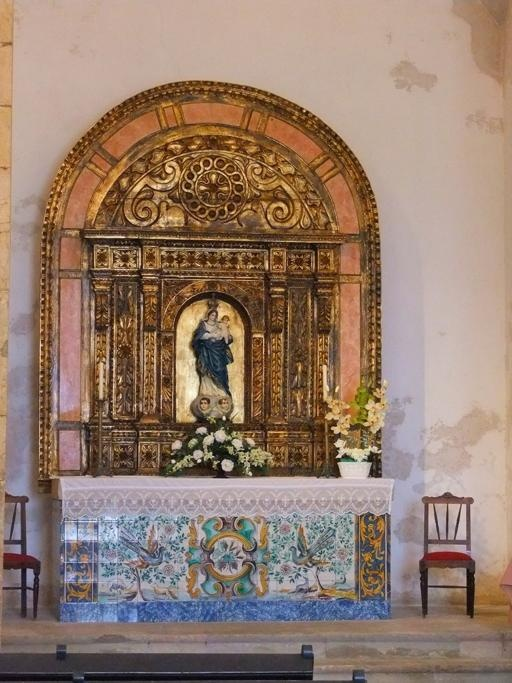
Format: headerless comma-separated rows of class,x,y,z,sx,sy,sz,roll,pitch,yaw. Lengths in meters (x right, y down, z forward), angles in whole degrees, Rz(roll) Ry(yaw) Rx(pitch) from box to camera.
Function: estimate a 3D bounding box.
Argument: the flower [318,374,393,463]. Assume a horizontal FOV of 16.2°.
flower,0.706,0.560,12.878,0.562,1.038,0.526,2,-8,3
